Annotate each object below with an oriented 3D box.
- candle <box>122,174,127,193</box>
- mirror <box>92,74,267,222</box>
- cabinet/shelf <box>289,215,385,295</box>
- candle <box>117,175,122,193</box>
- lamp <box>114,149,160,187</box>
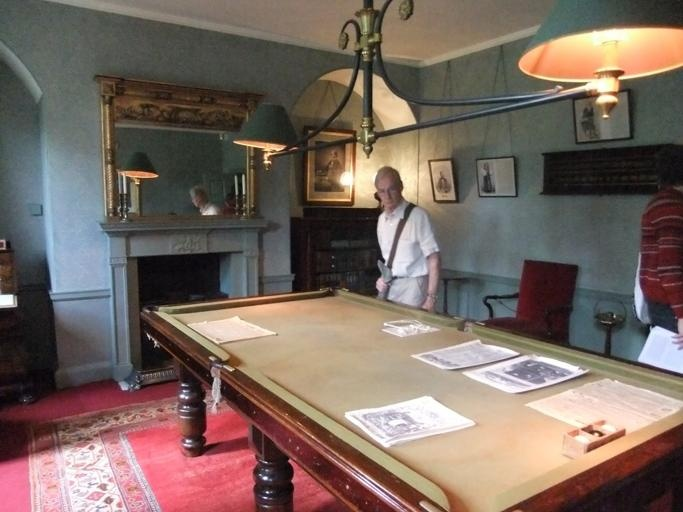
[{"bbox_3d":[-2.081,-0.689,5.172,0.039,0.172,0.123,-5,14,-17],"label":"candle"},{"bbox_3d":[-1.681,-1.101,5.333,1.601,1.195,0.169,-6,14,-36],"label":"mirror"},{"bbox_3d":[-0.109,-0.040,6.617,1.048,0.993,0.312,-4,6,-34],"label":"cabinet/shelf"},{"bbox_3d":[-2.126,-0.692,5.169,0.044,0.159,0.128,-6,14,-22],"label":"candle"},{"bbox_3d":[-1.995,-0.875,5.302,0.310,0.236,0.310,0,4,-32],"label":"lamp"}]
